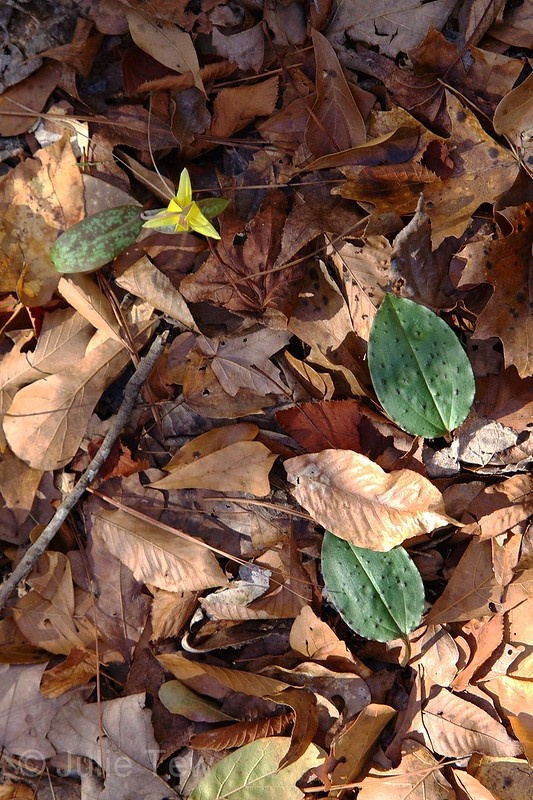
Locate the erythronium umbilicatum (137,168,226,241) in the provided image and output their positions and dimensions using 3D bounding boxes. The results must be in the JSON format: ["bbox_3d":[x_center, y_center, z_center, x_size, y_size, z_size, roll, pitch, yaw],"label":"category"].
[{"bbox_3d":[-0.160,-0.372,1.371,0.119,0.053,0.080,8,30,-21],"label":"erythronium umbilicatum"}]
